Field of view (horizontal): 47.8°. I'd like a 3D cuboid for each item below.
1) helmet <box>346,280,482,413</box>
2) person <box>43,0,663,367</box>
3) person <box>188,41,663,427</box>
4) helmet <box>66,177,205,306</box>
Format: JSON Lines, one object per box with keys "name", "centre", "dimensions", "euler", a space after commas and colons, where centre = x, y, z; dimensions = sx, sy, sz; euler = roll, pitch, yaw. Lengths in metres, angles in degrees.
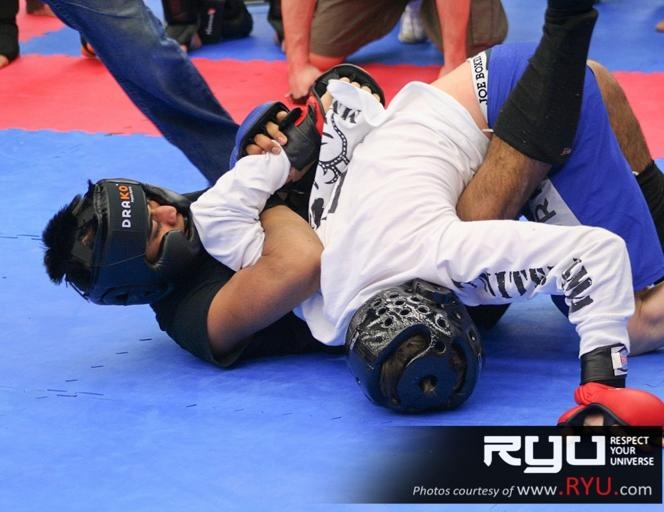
{"name": "helmet", "centre": [0.159, 0.197, 1.736], "dimensions": [0.348, 0.227, 0.290], "euler": [7, 32, -1]}
{"name": "person", "centre": [0.100, -0.119, 1.977], "dimensions": [1.244, 0.400, 0.788], "euler": [-14, 38, 17]}
{"name": "person", "centre": [0.294, -0.020, 1.790], "dimensions": [0.792, 0.378, 1.105], "euler": [-23, 50, -11]}
{"name": "helmet", "centre": [-0.514, -0.027, 2.059], "dimensions": [0.429, 0.324, 0.292], "euler": [9, 45, -3]}
